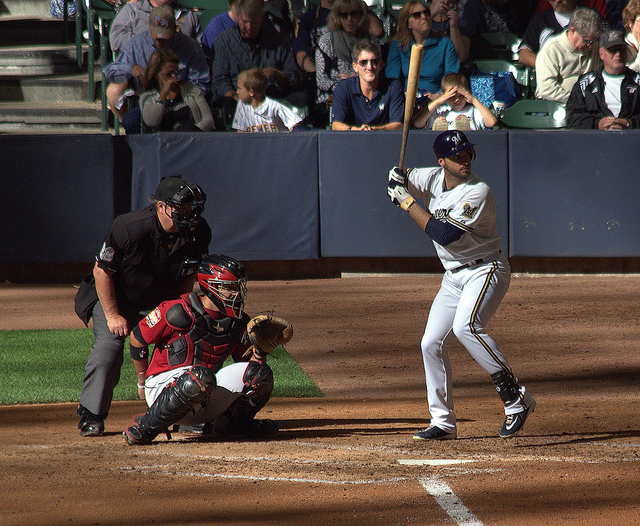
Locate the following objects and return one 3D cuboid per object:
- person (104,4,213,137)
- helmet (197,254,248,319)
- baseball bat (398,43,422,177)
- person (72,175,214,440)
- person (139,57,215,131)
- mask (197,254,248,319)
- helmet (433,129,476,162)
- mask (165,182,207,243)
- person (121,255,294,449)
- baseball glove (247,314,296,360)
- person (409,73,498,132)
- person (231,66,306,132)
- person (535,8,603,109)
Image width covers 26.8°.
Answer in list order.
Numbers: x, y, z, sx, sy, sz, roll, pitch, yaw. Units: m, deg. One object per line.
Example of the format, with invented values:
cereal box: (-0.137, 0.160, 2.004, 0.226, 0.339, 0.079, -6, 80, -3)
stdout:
person: (-1.903, -2.247, 15.622, 1.138, 1.639, 0.777, 1, 22, -10)
helmet: (-0.770, 0.154, 10.874, 0.472, 0.454, 0.400, 21, 19, 28)
baseball bat: (0.791, -1.538, 11.755, 0.066, 0.683, 0.071, 9, 1, 36)
person: (-1.479, 0.326, 11.382, 1.007, 2.117, 1.171, 0, 2, 10)
person: (-1.626, -1.902, 15.263, 0.823, 0.873, 0.506, -1, 16, -8)
mask: (-0.788, 0.171, 10.835, 0.347, 0.504, 0.316, -2, 13, -8)
helmet: (1.074, -0.954, 10.876, 0.222, 0.172, 0.298, -33, 25, -30)
mask: (-1.051, -0.406, 10.822, 0.339, 0.407, 0.456, 2, 15, -44)
person: (-0.916, 0.749, 10.811, 1.302, 1.572, 0.699, -1, 16, -8)
baseball glove: (-0.399, 0.595, 10.784, 0.344, 0.362, 0.162, 1, 16, 0)
person: (1.560, -1.780, 15.925, 0.949, 0.545, 1.230, -3, 10, 1)
person: (-0.627, -1.862, 15.536, 0.774, 0.721, 0.359, 0, 16, -4)
person: (2.984, -2.434, 16.086, 0.662, 1.297, 0.551, 6, 20, 0)
